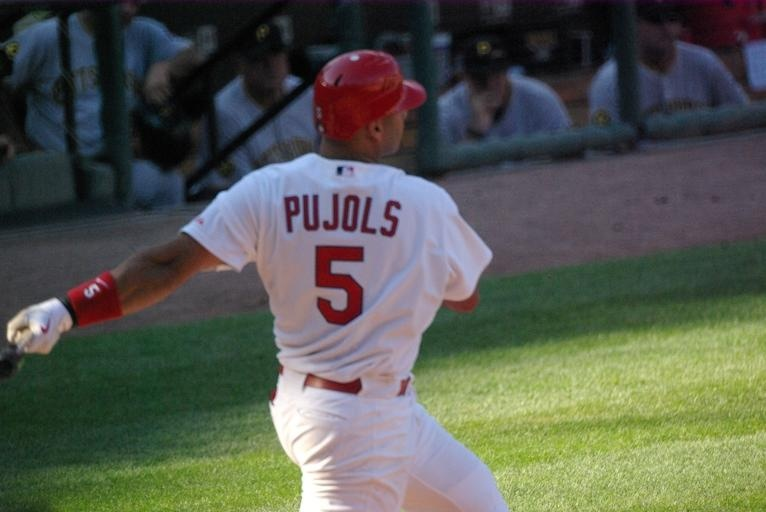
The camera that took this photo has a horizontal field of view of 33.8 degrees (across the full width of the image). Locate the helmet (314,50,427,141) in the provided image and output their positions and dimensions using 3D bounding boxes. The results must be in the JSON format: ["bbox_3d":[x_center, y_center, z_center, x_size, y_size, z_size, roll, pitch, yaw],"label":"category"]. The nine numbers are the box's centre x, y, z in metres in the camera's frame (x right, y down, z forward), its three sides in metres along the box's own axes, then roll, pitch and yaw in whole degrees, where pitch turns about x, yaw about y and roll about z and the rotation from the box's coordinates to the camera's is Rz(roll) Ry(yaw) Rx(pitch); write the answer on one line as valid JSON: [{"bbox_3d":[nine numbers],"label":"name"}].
[{"bbox_3d":[-0.074,-0.873,6.519,0.558,0.288,0.394,-24,40,-17],"label":"helmet"}]

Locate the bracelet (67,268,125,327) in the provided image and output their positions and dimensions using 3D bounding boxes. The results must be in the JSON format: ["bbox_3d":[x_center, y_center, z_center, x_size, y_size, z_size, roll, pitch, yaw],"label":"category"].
[{"bbox_3d":[-1.439,0.220,6.396,0.242,0.222,0.290,-29,1,37],"label":"bracelet"}]
